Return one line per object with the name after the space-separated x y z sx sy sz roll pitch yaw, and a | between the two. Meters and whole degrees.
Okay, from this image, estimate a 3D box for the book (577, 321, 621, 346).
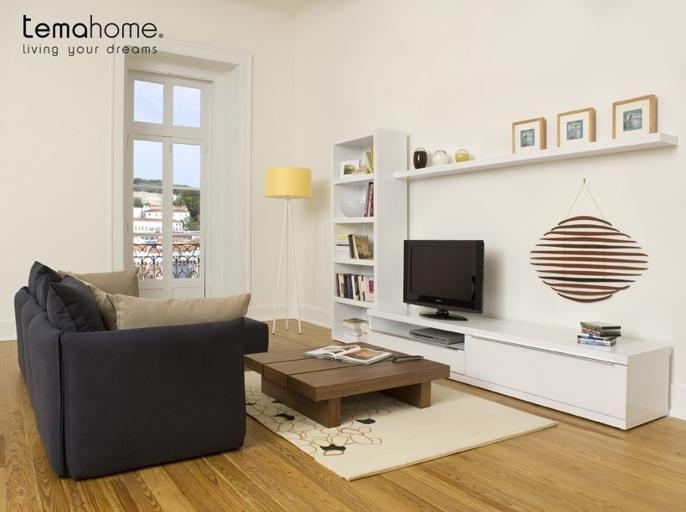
1.833 0.562 3.803 0.198 0.123 0.195 2 1 -5 | book

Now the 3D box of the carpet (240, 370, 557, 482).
0.357 1.139 3.674 1.959 0.064 1.256 -2 10 -15 | carpet

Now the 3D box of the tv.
0.944 0.218 4.822 0.218 0.553 0.756 -1 2 -38 | tv

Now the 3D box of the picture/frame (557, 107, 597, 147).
1.845 -1.010 4.220 0.315 0.278 0.031 -11 15 -12 | picture/frame

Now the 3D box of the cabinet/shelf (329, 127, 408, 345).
0.283 -0.194 5.742 0.687 2.277 1.162 -9 15 -40 | cabinet/shelf

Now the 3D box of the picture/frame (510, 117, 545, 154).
1.582 -1.009 4.501 0.043 0.274 0.288 -9 9 -33 | picture/frame
